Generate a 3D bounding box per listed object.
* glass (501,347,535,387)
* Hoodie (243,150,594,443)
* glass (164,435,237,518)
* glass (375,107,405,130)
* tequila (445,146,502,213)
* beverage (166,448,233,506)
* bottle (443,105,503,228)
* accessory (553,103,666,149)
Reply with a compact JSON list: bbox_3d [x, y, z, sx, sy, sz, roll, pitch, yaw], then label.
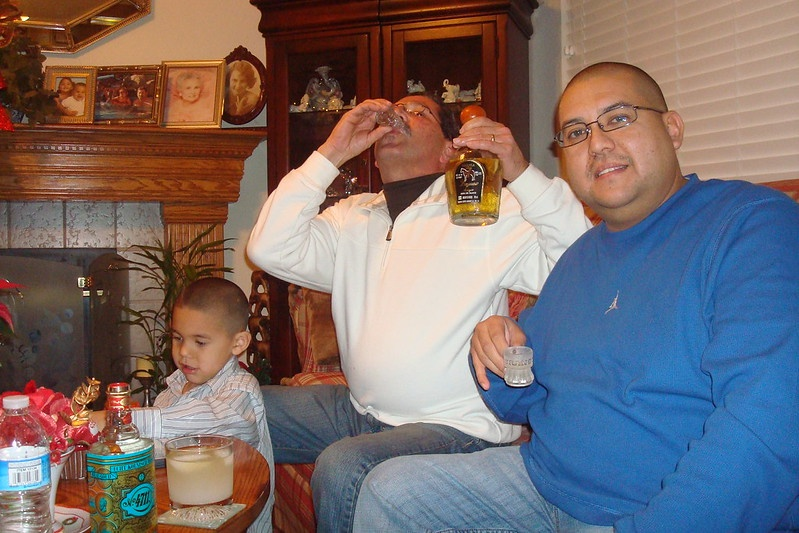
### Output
[{"bbox_3d":[0.270,0.223,1.355,0.086,0.086,0.083,-1,3,-27],"label":"glass"},{"bbox_3d":[0.065,0.096,1.827,1.231,0.823,0.360,-2,-15,32],"label":"Hoodie"},{"bbox_3d":[-0.424,0.437,1.307,0.148,0.145,0.135,0,1,24],"label":"glass"},{"bbox_3d":[-0.032,-0.481,1.994,0.085,0.063,0.031,30,-8,-9],"label":"glass"},{"bbox_3d":[0.200,-0.283,1.682,0.149,0.308,0.100,-3,-13,12],"label":"tequila"},{"bbox_3d":[-0.429,0.446,1.279,0.129,0.091,0.124,0,-4,-3],"label":"beverage"},{"bbox_3d":[0.209,-0.288,1.702,0.167,0.325,0.159,1,-8,0],"label":"bottle"},{"bbox_3d":[0.493,-0.341,1.497,0.207,0.052,0.224,-17,6,28],"label":"accessory"}]
